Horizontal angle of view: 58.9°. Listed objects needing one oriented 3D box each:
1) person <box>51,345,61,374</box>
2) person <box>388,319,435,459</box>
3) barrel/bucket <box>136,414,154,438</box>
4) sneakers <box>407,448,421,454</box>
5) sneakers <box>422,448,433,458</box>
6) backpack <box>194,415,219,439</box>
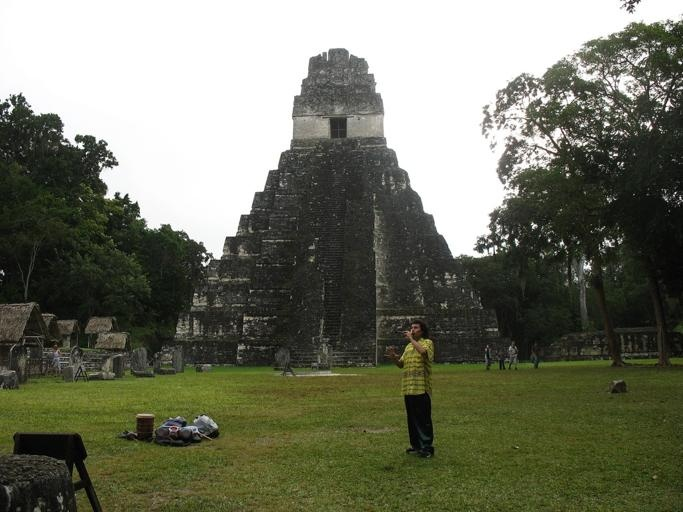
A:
[{"bbox_3d":[-10.153,3.680,21.616,0.316,1.052,1.207,8,-17,-28],"label":"person"},{"bbox_3d":[1.030,1.797,8.337,0.479,1.843,0.356,-3,-15,7],"label":"person"},{"bbox_3d":[-2.989,2.584,9.239,0.300,0.289,0.308,-1,-10,0],"label":"barrel/bucket"},{"bbox_3d":[0.971,2.659,8.240,0.154,0.101,0.070,-2,0,6],"label":"sneakers"},{"bbox_3d":[1.145,2.637,8.098,0.155,0.102,0.078,-6,4,-4],"label":"sneakers"},{"bbox_3d":[-2.118,2.678,9.499,0.397,0.345,0.475,3,-16,-12],"label":"backpack"}]
